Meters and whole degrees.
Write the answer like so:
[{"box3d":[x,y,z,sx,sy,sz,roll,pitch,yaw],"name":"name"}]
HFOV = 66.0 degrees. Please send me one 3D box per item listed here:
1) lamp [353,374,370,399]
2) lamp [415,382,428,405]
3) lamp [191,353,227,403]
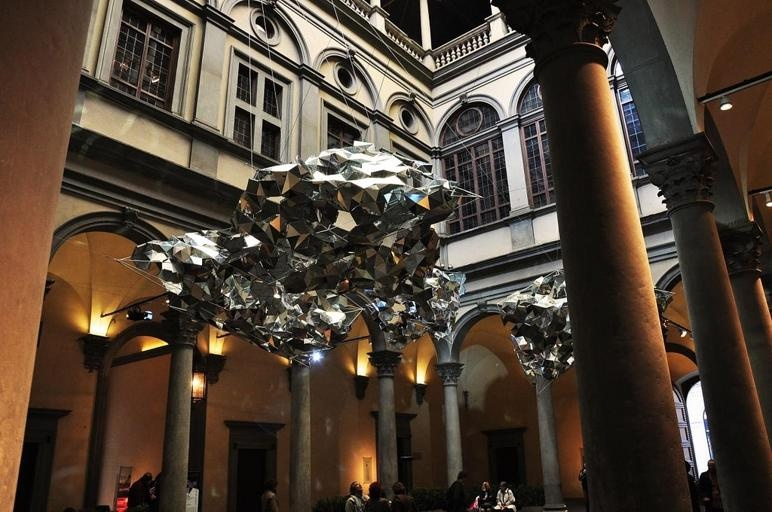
[{"box3d":[-0.802,3.999,18.187,0.401,0.671,0.493,-24,-31,39],"name":"lamp"},{"box3d":[1.184,4.646,20.020,0.415,0.653,1.033,-6,-24,5],"name":"lamp"},{"box3d":[-4.448,2.983,14.658,0.653,1.257,1.464,-3,-24,0],"name":"lamp"}]
